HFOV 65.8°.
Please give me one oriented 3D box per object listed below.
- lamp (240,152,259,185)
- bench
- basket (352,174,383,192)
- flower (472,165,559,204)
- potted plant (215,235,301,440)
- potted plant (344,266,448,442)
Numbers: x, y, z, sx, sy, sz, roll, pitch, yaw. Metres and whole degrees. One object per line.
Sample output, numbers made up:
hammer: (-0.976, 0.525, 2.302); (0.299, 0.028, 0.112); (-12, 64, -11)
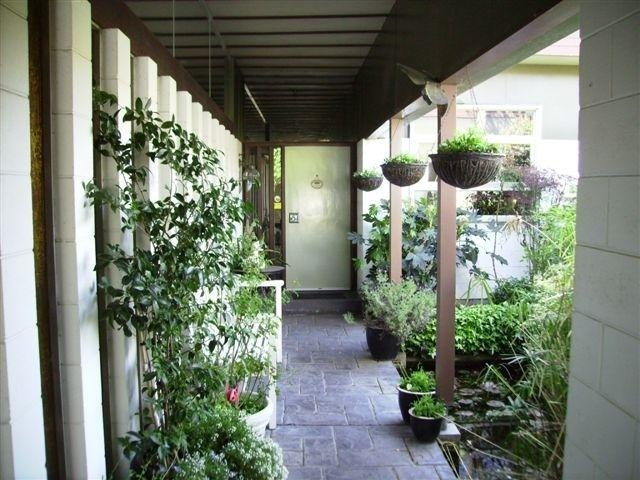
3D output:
lamp: (-1.032, -1.186, 7.707); (0.227, 0.365, 0.233); (-10, 27, -24)
bench: (-0.597, 0.883, 4.351); (0.808, 1.566, 0.834); (0, 1, 0)
basket: (0.571, -0.650, 5.829); (0.227, 0.150, 0.235); (-1, 5, -24)
flower: (2.686, -0.769, 6.545); (0.668, 0.380, 0.547); (-1, 11, 23)
potted plant: (-0.487, 0.800, 3.887); (0.535, 1.607, 1.300); (-1, 7, -4)
potted plant: (0.931, 1.016, 5.042); (1.102, 1.456, 0.913); (1, -5, -8)
